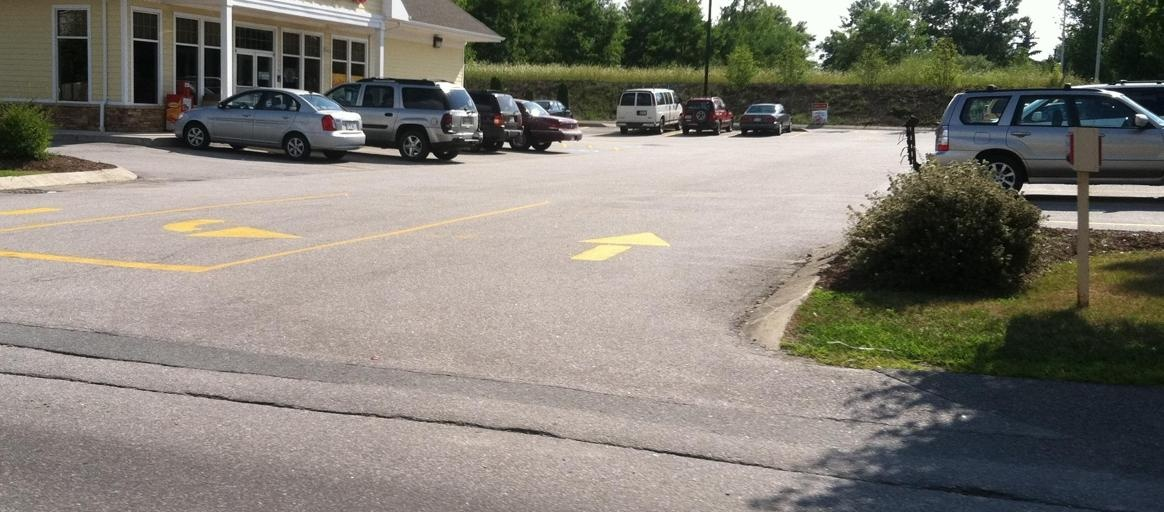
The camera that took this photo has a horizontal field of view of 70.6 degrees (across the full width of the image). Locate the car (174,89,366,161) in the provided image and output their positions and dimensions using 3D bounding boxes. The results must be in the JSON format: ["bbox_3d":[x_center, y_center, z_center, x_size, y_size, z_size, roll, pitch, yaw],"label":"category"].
[{"bbox_3d":[-11.473,-5.118,31.021,7.297,1.896,2.777,8,12,15],"label":"car"}]

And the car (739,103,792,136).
[{"bbox_3d":[12.290,-9.237,55.341,2.502,1.982,3.413,4,12,21],"label":"car"}]

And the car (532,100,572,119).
[{"bbox_3d":[-1.534,-8.242,45.735,1.408,0.777,2.797,7,11,30],"label":"car"}]

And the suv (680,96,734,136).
[{"bbox_3d":[8.345,-9.516,55.441,2.261,2.381,4.001,5,13,24],"label":"suv"}]
